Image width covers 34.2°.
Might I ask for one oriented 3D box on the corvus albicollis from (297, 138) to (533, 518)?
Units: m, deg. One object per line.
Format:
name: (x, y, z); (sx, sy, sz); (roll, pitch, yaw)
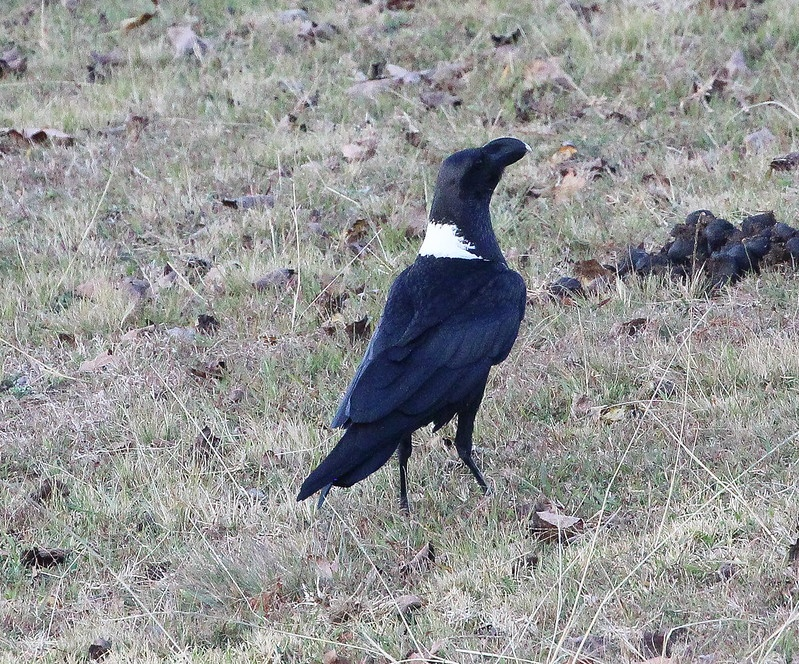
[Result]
corvus albicollis: (0.188, -0.099, 6.362); (0.781, 1.684, 1.207); (7, 12, 10)
